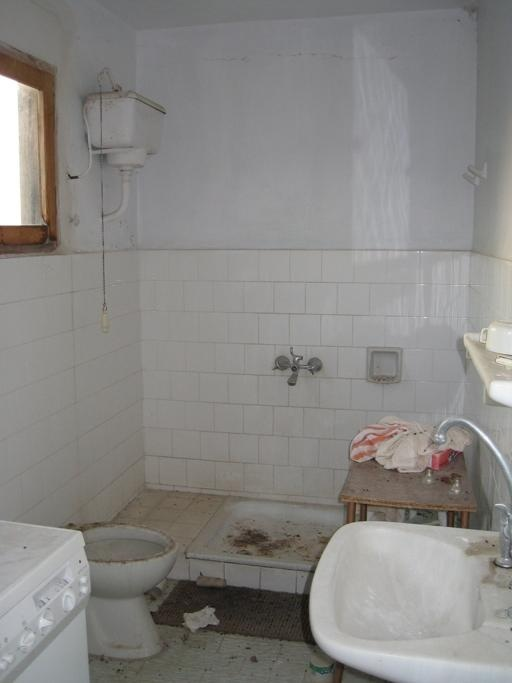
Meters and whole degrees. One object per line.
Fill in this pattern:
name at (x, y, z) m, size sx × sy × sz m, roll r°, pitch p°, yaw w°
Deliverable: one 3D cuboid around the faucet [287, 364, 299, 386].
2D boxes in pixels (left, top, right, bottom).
faucet at (0.201, 0.176, 3.234) m, size 0.026 × 0.088 × 0.088 m, roll 16°, pitch 29°, yaw -1°
